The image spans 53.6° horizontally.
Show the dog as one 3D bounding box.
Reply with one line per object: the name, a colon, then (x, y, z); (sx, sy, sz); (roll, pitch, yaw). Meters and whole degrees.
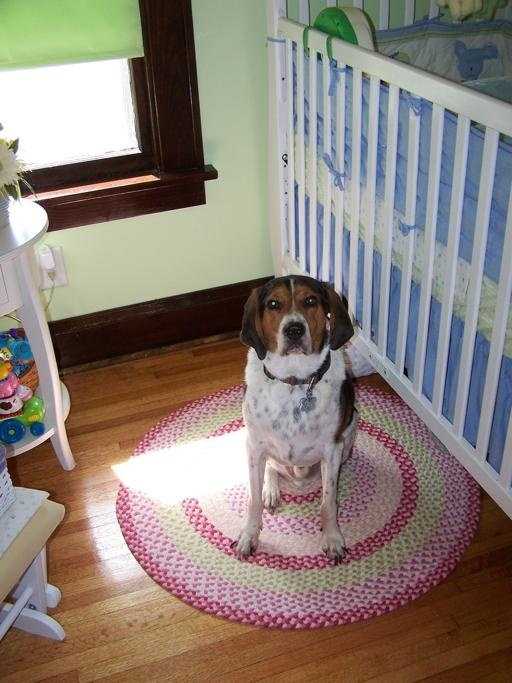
dog: (0.104, 0.186, 1.338); (0.314, 0.779, 0.420); (2, 32, 11)
